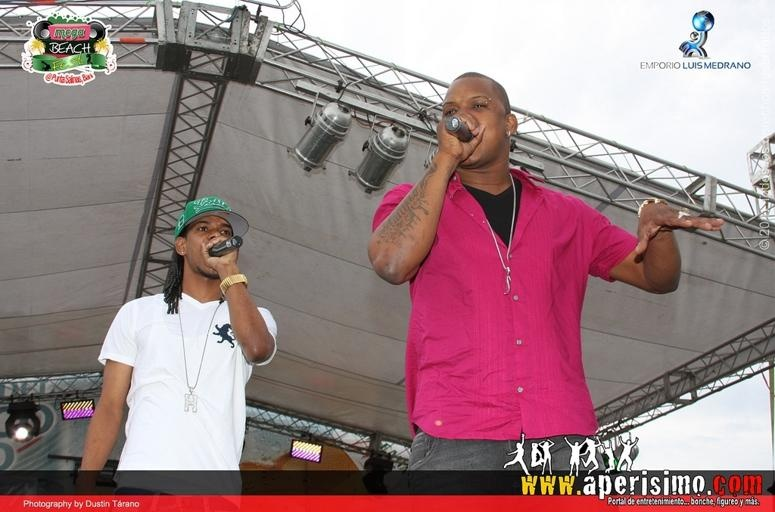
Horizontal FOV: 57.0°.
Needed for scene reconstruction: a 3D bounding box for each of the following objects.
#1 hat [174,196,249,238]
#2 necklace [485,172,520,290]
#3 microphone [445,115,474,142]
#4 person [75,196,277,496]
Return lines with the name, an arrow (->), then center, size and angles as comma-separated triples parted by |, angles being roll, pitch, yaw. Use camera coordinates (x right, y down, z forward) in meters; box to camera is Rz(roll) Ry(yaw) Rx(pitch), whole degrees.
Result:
hat -> -1.226, -0.268, 4.838 | 0.417, 0.199, 0.317 | -29, -37, 36
necklace -> 0.682, -0.118, 3.996 | 0.165, 0.605, 0.036 | 2, -31, -5
microphone -> 0.400, -0.704, 3.944 | 0.073, 0.071, 0.127 | -26, -22, 19
person -> -1.246, 0.516, 4.523 | 1.057, 1.895, 0.379 | 7, -14, -9
